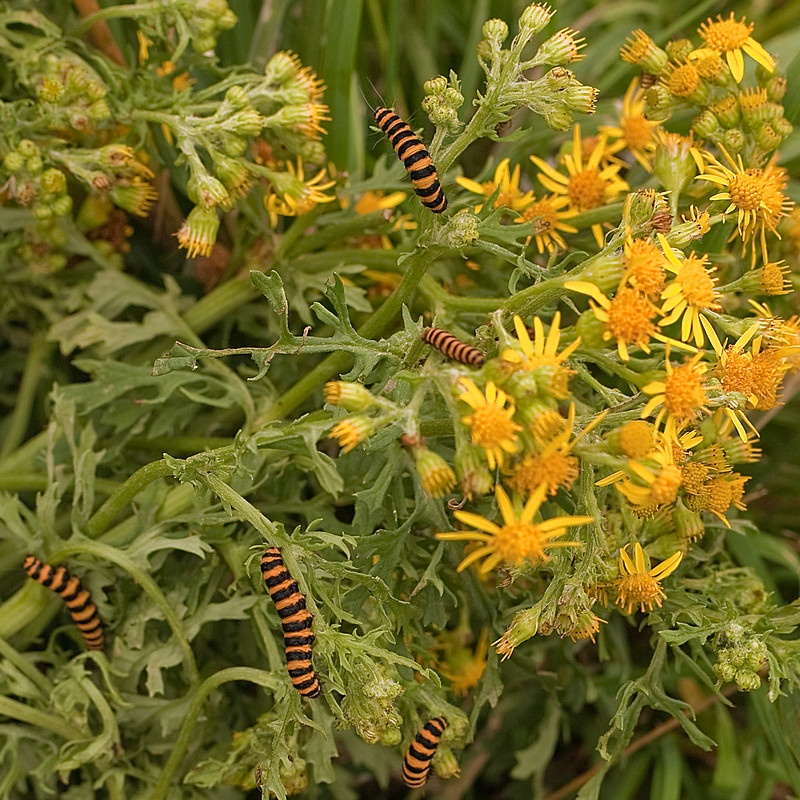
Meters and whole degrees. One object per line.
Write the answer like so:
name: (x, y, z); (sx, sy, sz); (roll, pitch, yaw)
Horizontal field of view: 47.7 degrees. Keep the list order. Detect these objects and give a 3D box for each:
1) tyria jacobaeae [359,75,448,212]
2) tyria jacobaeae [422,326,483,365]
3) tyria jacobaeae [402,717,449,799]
tyria jacobaeae: (0.025, -0.507, 1.799); (0.084, 0.321, 0.076); (-43, -27, 18)
tyria jacobaeae: (0.086, -0.105, 1.716); (0.042, 0.046, 0.174); (37, 3, -32)
tyria jacobaeae: (0.071, 0.796, 2.048); (0.070, 0.054, 0.204); (-6, 16, 31)
